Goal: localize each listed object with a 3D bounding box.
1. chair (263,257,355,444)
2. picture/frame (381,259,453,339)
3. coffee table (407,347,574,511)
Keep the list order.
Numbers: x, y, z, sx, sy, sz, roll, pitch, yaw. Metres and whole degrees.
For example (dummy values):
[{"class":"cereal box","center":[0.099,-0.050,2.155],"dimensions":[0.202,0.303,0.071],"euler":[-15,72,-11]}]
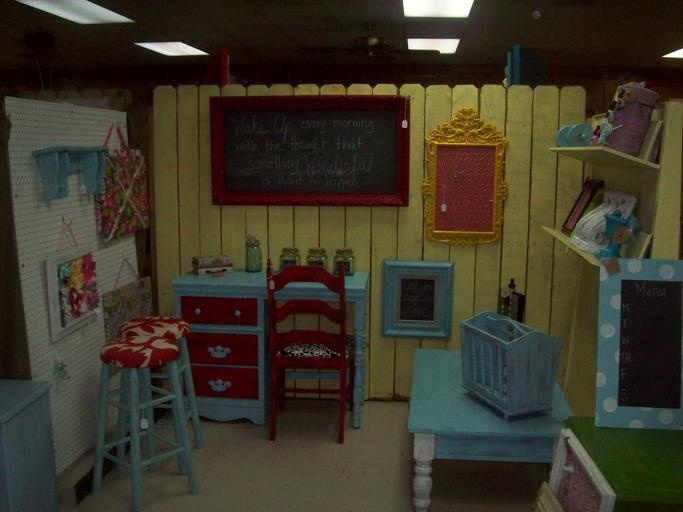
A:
[{"class":"chair","center":[-0.228,0.604,4.178],"dimensions":[0.606,1.210,0.639],"euler":[1,10,1]},{"class":"picture/frame","center":[0.584,0.299,4.410],"dimensions":[0.540,0.628,0.072],"euler":[1,5,3]},{"class":"coffee table","center":[0.760,0.733,3.167],"dimensions":[0.701,0.511,1.001],"euler":[1,7,3]}]
